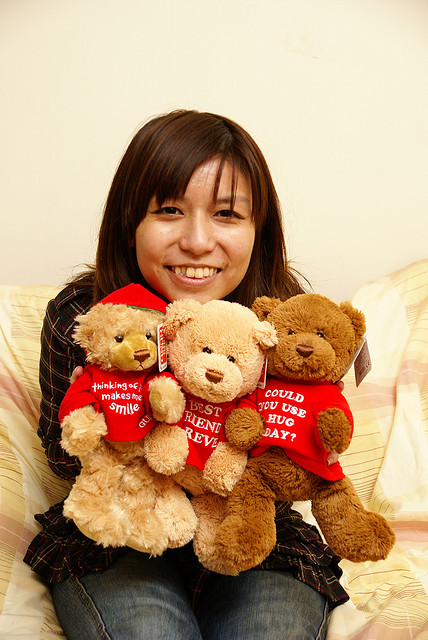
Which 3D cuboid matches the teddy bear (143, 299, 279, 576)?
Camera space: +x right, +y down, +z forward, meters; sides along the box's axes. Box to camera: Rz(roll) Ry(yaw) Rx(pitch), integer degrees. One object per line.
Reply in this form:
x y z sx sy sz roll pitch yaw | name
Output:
-0.011 0.165 0.804 0.195 0.354 0.224 -1 18 -30 | teddy bear

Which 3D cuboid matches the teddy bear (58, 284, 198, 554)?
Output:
-0.143 0.145 0.853 0.222 0.357 0.159 5 -7 -15 | teddy bear

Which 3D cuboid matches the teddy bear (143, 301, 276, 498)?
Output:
-0.004 0.127 0.795 0.173 0.281 0.156 4 23 6 | teddy bear
